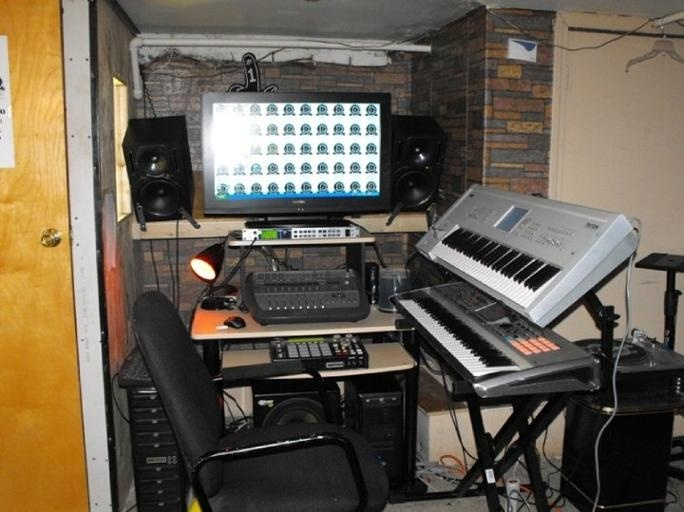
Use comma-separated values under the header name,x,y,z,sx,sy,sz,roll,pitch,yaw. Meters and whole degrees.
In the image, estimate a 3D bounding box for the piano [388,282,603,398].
name,x,y,z,sx,sy,sz,roll,pitch,yaw
piano,0.625,0.332,2.664,0.526,0.163,0.934,-7,20,-13

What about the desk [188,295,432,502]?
name,x,y,z,sx,sy,sz,roll,pitch,yaw
desk,-0.219,0.894,3.247,1.430,0.898,1.008,-2,11,-9

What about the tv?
name,x,y,z,sx,sy,sz,roll,pitch,yaw
tv,-0.258,-0.558,3.217,0.949,0.498,0.115,0,10,-6

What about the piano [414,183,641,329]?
name,x,y,z,sx,sy,sz,roll,pitch,yaw
piano,0.800,-0.045,2.452,0.730,0.330,1.056,-25,21,-10

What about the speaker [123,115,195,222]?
name,x,y,z,sx,sy,sz,roll,pitch,yaw
speaker,-1.017,-0.478,3.247,0.344,0.583,0.259,-5,15,-15

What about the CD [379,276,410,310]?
name,x,y,z,sx,sy,sz,roll,pitch,yaw
CD,0.248,0.195,3.225,0.209,0.181,0.191,-2,8,-15
